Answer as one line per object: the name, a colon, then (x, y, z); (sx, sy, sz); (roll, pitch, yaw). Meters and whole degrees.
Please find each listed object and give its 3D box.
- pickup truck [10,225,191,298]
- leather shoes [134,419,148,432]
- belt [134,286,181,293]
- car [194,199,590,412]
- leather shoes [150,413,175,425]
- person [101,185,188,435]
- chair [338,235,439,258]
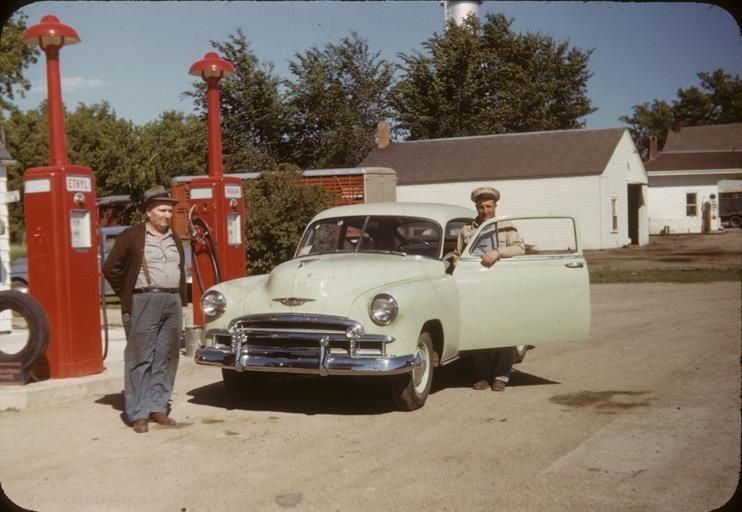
pickup truck: (-7.140, -0.373, 18.103); (3.443, 1.710, 1.860); (-1, 27, 0)
leather shoes: (-2.522, 1.847, 7.296); (0.160, 0.128, 0.186); (-3, 5, -21)
belt: (-2.447, 0.394, 7.604); (0.488, 0.097, 0.135); (-4, 5, -24)
car: (0.281, 0.575, 8.460); (4.558, 2.433, 2.155); (-3, 5, -22)
leather shoes: (-2.339, 1.841, 7.557); (0.320, 0.148, 0.118); (-2, 12, 22)
person: (-2.532, 0.550, 7.562); (0.877, 2.673, 0.744); (-3, 5, -23)
chair: (0.309, -0.122, 9.002); (1.291, 0.261, 0.313); (7, 15, 9)
